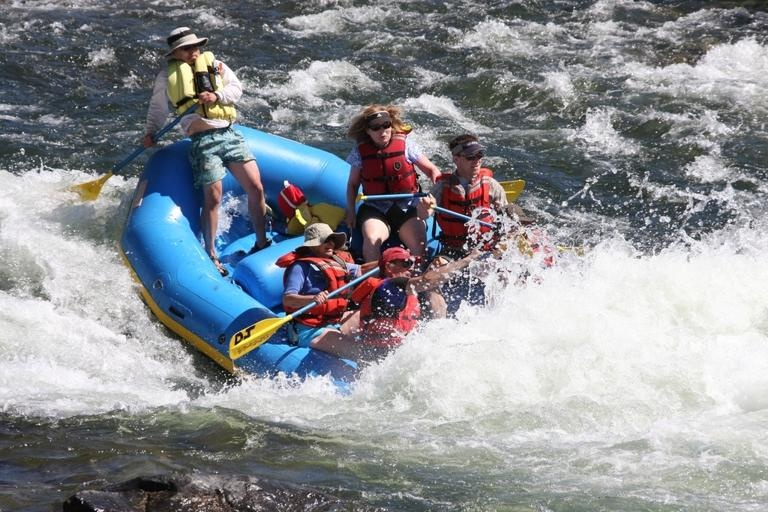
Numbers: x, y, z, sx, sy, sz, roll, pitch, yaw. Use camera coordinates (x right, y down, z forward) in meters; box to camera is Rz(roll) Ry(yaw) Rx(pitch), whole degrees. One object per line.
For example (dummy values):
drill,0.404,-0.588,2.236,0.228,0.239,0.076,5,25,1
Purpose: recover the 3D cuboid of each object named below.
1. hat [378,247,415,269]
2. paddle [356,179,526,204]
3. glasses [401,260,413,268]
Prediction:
hat,0.126,0.035,12.379,0.357,0.148,0.228,-16,-6,24
paddle,0.639,-0.769,13.127,1.884,0.342,0.103,-6,18,-7
glasses,0.289,0.085,12.318,0.071,0.086,0.169,31,28,31
